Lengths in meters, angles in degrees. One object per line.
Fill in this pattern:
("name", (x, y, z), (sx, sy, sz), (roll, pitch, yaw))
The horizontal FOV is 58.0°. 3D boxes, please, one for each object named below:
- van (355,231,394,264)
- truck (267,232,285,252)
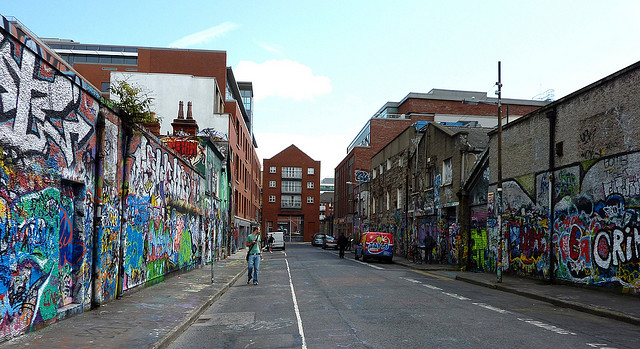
("van", (3.864, 5.343, 41.671), (2.575, 2.079, 3.849), (0, -12, 2))
("truck", (-4.506, 7.288, 59.389), (2.210, 2.040, 3.602), (0, -2, -5))
